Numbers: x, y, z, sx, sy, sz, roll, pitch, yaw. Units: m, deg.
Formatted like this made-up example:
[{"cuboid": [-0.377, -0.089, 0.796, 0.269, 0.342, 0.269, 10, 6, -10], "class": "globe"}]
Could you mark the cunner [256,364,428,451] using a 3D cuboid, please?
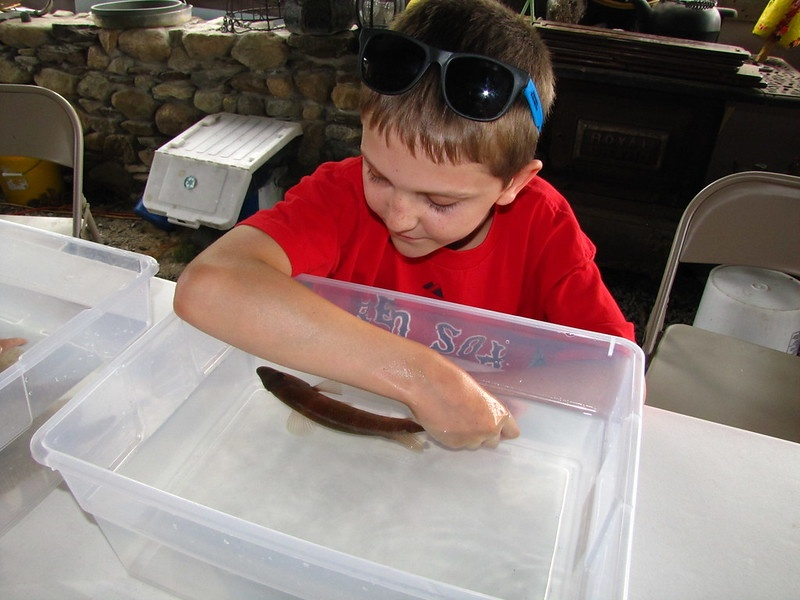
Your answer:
[{"cuboid": [-0.065, 0.241, 1.296, 0.435, 0.171, 0.120, 18, 71, -1], "class": "cunner"}]
